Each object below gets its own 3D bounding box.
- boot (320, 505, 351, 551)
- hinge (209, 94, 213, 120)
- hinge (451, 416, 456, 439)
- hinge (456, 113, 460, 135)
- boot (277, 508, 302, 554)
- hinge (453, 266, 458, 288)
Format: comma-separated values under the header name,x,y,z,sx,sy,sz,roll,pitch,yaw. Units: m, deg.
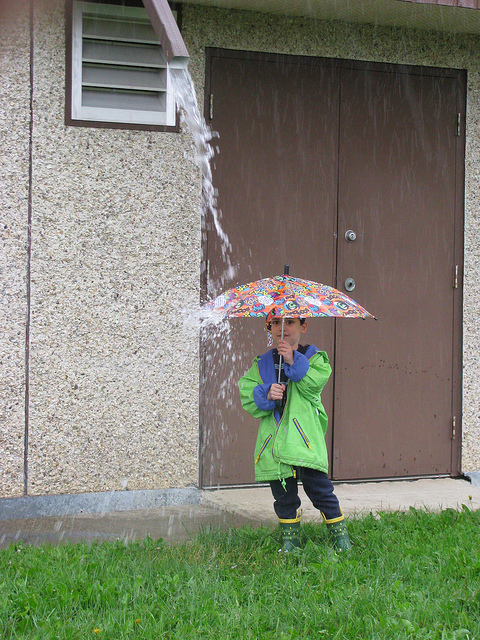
name,x,y,z,sx,sy,sz,roll,pitch,yaw
boot,0.431,0.937,2.884,0.059,0.197,0.152,-8,-23,0
hinge,-0.178,-1.306,4.109,0.025,0.152,0.006,-1,2,-36
hinge,1.479,0.751,4.613,0.034,0.147,0.012,-1,1,-4
hinge,1.523,-1.360,4.657,0.025,0.140,0.008,-1,1,-16
boot,0.211,0.927,2.864,0.067,0.201,0.154,0,21,7
hinge,1.504,-0.294,4.650,0.038,0.148,0.014,-1,2,-25
